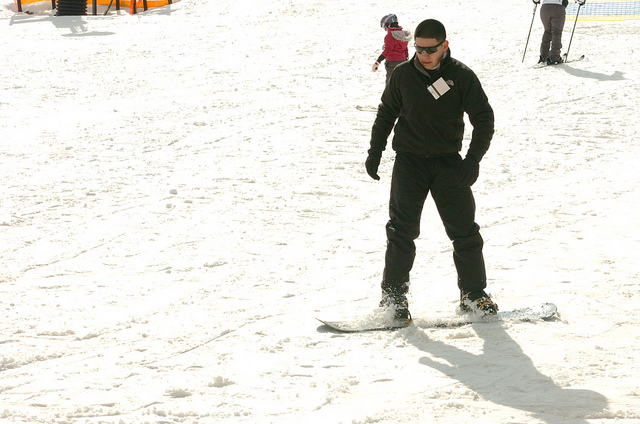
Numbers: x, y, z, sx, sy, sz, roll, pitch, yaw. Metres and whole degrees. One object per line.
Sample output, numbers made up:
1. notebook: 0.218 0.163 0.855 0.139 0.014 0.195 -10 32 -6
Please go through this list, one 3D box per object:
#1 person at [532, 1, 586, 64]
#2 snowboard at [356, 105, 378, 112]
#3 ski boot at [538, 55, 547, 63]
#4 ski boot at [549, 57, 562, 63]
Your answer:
1. person: 4.893 -3.856 28.345 0.578 1.440 0.734 6 23 8
2. snowboard: 0.914 -2.123 27.105 0.468 0.114 0.410 -5 7 -38
3. ski boot: 4.737 -3.331 28.767 0.264 0.086 0.313 0 -7 4
4. ski boot: 4.972 -3.282 28.607 0.252 0.102 0.068 7 22 14
